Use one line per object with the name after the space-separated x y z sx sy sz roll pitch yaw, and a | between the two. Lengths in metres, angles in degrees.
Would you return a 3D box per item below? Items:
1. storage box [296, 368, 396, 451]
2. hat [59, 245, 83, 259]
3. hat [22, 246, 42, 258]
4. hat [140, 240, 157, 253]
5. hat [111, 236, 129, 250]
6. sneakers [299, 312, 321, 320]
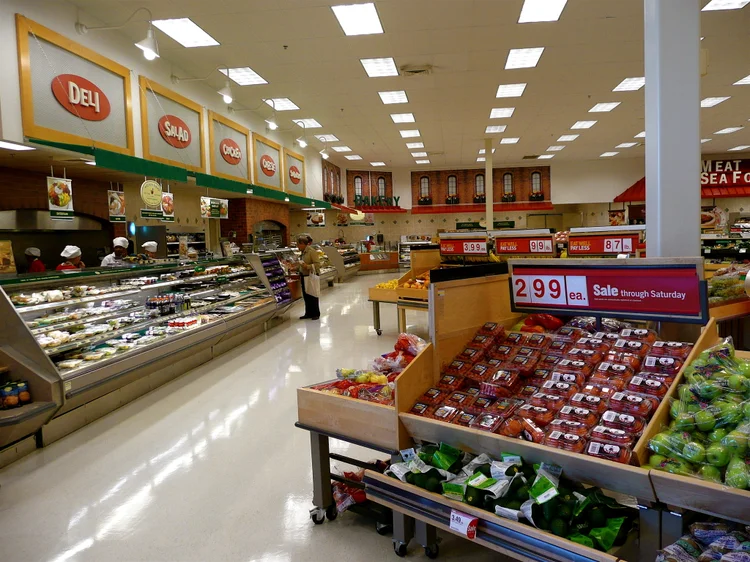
-0.148 0.770 3.139 0.560 0.197 0.411 1 2 36 | storage box
-4.258 -0.380 6.951 0.321 0.250 0.169 -7 -40 -19 | hat
-4.949 -0.424 7.034 0.246 0.197 0.233 5 10 -3 | hat
-3.893 -0.595 8.462 0.257 0.206 0.306 -1 2 -31 | hat
-3.979 -0.582 7.558 0.213 0.205 0.269 4 13 2 | hat
-1.263 0.678 9.594 0.417 0.146 0.130 5 6 15 | sneakers
